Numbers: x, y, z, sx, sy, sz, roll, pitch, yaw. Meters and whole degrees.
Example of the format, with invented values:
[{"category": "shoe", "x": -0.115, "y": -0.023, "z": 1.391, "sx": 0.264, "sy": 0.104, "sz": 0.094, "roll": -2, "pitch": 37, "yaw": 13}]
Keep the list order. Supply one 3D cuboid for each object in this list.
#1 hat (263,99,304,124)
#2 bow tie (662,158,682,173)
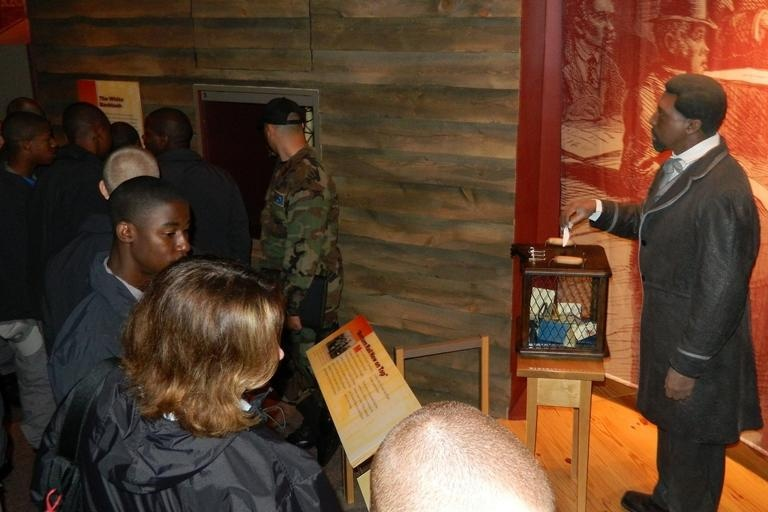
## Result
[{"category": "hat", "x": -0.723, "y": -1.060, "z": 4.707, "sx": 0.339, "sy": 0.196, "sz": 0.222, "roll": -4, "pitch": 12, "yaw": -25}, {"category": "bow tie", "x": 1.717, "y": -0.525, "z": 3.784, "sx": 0.034, "sy": 0.084, "sz": 0.093, "roll": 6, "pitch": -1, "yaw": -31}]
